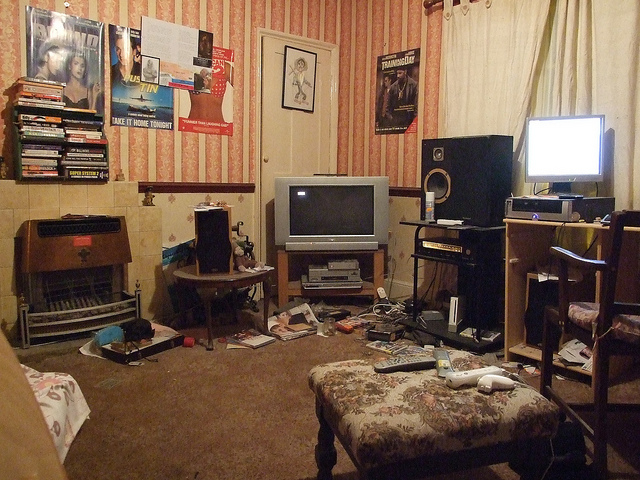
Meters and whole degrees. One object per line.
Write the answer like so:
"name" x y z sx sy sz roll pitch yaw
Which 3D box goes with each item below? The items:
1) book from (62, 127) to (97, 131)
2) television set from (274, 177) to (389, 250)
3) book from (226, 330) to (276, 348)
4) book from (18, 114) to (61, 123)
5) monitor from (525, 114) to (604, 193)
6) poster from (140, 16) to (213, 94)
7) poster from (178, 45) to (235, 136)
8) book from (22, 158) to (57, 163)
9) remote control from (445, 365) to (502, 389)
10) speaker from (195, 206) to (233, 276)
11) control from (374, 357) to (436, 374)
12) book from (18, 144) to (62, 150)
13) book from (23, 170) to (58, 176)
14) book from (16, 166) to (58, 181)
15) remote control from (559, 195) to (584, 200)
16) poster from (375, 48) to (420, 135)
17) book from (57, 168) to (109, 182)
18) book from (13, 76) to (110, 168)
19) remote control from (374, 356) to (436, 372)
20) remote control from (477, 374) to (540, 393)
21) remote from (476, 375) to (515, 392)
"book" -1.732 -0.804 3.673 0.212 0.022 0.044 -7 14 -28
"television set" 0.076 -0.212 4.664 1.020 0.789 0.588 0 -1 -2
"book" -0.512 0.726 3.749 0.350 0.038 0.235 6 14 26
"book" -1.926 -0.841 3.505 0.259 0.045 0.040 -8 14 -34
"monitor" 1.589 -0.573 3.295 0.450 0.521 0.153 2 3 30
"poster" -1.215 -1.547 4.215 0.668 0.632 0.049 -1 7 -34
"poster" -1.005 -1.314 4.399 0.008 1.016 0.674 10 14 42
"book" -1.945 -0.556 3.533 0.206 0.037 0.014 -10 15 -39
"remote control" 0.626 0.532 2.105 0.252 0.078 0.089 -5 4 -21
"speaker" -0.759 0.002 3.648 0.252 0.463 0.193 -2 11 -11
"control" 0.365 0.536 2.201 0.184 0.044 0.102 -4 2 -6
"book" -1.935 -0.649 3.530 0.036 0.040 0.259 11 16 42
"book" -1.940 -0.471 3.536 0.210 0.045 0.040 -11 16 -42
"book" -1.963 -0.472 3.548 0.248 0.099 0.065 -7 13 -29
"remote control" 1.546 -0.269 3.142 0.135 0.013 0.174 8 15 32
"poster" 0.723 -1.403 4.821 0.063 0.760 0.532 -9 15 -40
"book" -1.719 -0.478 3.707 0.332 0.109 0.052 -8 13 -32
"book" -1.853 -0.824 3.601 0.220 0.664 0.637 4 6 43
"remote control" 0.363 0.536 2.200 0.177 0.049 0.102 -2 1 -8
"remote control" 0.705 0.571 2.038 0.114 0.038 0.119 6 1 35
"remote" 0.701 0.570 2.038 0.092 0.028 0.072 -2 13 7
